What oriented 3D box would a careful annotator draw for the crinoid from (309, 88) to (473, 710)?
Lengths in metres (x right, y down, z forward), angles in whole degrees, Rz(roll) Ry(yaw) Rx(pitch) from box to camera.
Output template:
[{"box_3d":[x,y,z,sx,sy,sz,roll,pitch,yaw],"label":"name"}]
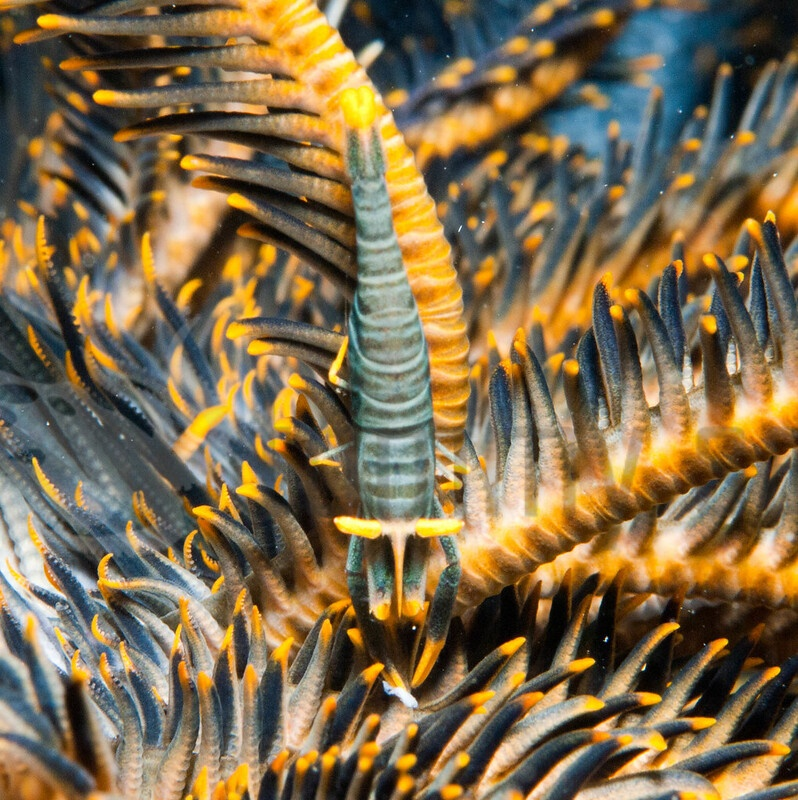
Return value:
[{"box_3d":[-0.010,0.004,1.811,0.134,0.156,0.544,0,-67,-1],"label":"crinoid"}]
